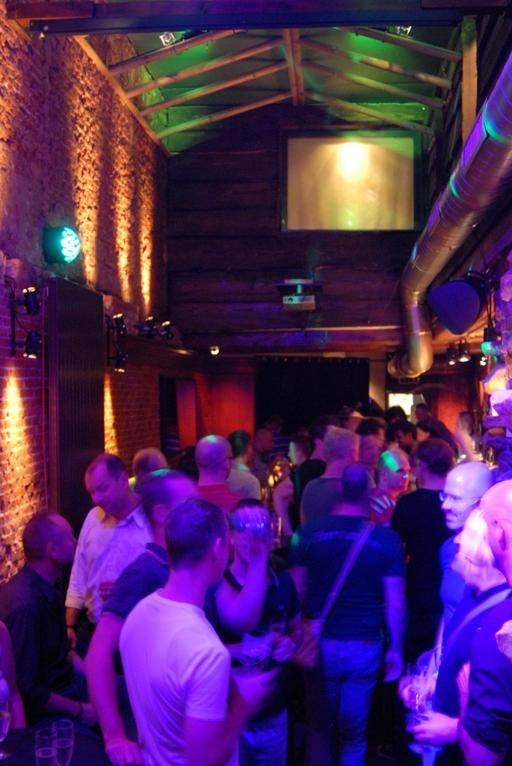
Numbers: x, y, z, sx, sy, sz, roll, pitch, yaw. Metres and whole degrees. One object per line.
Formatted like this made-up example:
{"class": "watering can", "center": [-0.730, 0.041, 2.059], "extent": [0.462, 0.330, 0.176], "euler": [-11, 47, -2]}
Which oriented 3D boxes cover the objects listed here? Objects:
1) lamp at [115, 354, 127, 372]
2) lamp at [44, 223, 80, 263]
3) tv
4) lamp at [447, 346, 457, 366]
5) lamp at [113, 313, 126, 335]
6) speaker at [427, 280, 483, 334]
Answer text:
{"class": "lamp", "center": [-1.176, -0.176, 5.740], "extent": [0.105, 0.219, 0.112], "euler": [3, 14, -2]}
{"class": "lamp", "center": [-1.324, -0.929, 4.491], "extent": [0.163, 0.270, 0.281], "euler": [0, -4, -1]}
{"class": "tv", "center": [1.295, -2.625, 8.528], "extent": [1.960, 1.607, 0.089], "euler": [0, -2, 0]}
{"class": "lamp", "center": [2.173, -0.311, 7.326], "extent": [0.097, 0.201, 0.402], "euler": [-1, -4, 17]}
{"class": "lamp", "center": [-1.171, -0.502, 5.694], "extent": [0.103, 0.185, 0.055], "euler": [-12, 14, -38]}
{"class": "speaker", "center": [1.169, -0.451, 3.846], "extent": [0.272, 0.307, 0.289], "euler": [0, -4, -11]}
